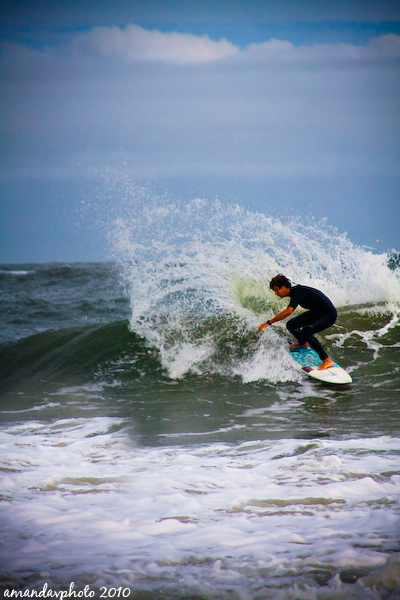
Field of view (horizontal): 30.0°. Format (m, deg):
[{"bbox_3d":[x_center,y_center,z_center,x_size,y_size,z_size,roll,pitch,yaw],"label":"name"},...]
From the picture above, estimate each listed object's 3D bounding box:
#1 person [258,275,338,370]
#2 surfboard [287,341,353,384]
[{"bbox_3d":[1.025,0.157,7.736,0.790,0.984,0.664,0,17,19],"label":"person"},{"bbox_3d":[1.260,0.648,7.779,0.232,0.098,0.912,-11,19,-16],"label":"surfboard"}]
